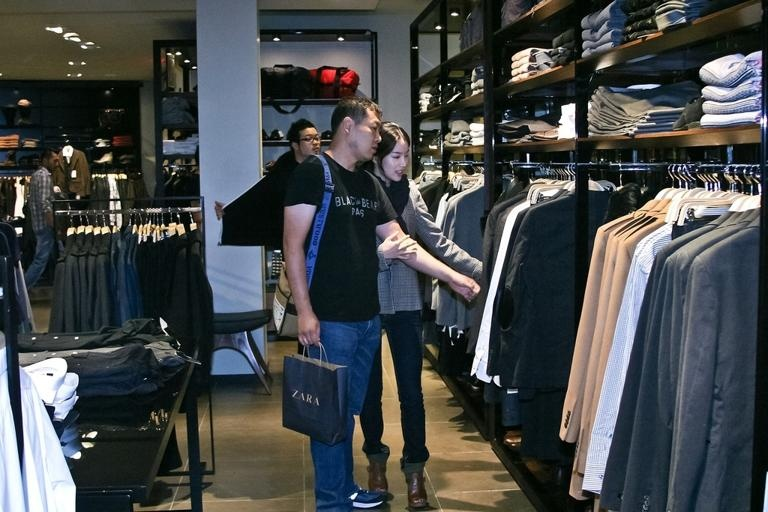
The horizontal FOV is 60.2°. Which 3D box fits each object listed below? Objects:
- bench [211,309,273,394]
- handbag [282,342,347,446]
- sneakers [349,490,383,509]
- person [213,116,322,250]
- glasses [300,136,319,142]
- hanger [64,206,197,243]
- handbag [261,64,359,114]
[{"bbox_3d":[-1.137,0.733,5.327,0.650,0.735,0.624,-3,1,-8],"label":"bench"},{"bbox_3d":[-0.327,0.653,3.034,0.334,0.383,0.082,3,7,26],"label":"handbag"},{"bbox_3d":[-0.101,1.355,3.664,0.223,0.087,0.122,-1,2,-8],"label":"sneakers"},{"bbox_3d":[-0.591,-0.479,4.300,0.826,0.710,0.568,13,-3,33],"label":"person"},{"bbox_3d":[-0.554,-0.856,4.845,0.081,0.025,0.082,-5,3,-42],"label":"glasses"},{"bbox_3d":[-1.987,-0.247,5.255,0.984,0.295,0.352,-3,-38,-5],"label":"hanger"},{"bbox_3d":[-0.789,-1.675,7.004,0.971,0.345,0.728,2,10,-2],"label":"handbag"}]
